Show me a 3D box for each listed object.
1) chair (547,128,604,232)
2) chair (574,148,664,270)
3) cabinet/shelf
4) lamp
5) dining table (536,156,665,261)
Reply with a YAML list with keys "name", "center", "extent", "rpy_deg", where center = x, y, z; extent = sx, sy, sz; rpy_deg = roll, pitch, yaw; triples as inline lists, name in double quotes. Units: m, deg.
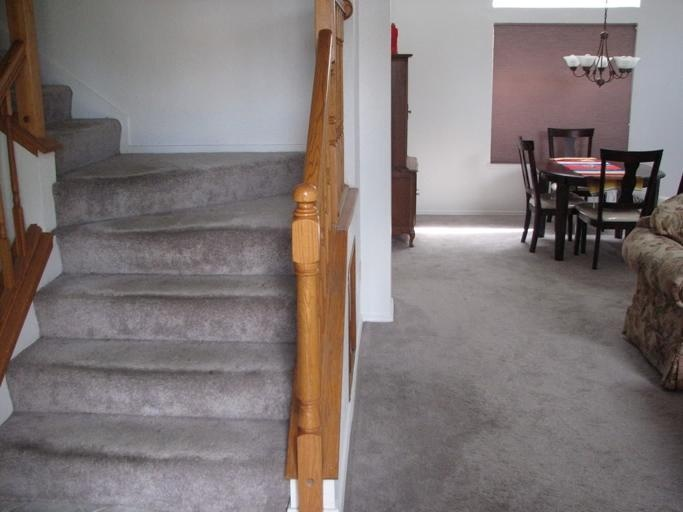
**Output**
- name: "chair"
  center: [2.918, -1.163, 7.008]
  extent: [0.510, 0.948, 0.642]
  rpy_deg: [0, 13, 10]
- name: "chair"
  center: [2.790, -0.515, 5.686]
  extent: [0.606, 1.245, 0.736]
  rpy_deg: [-2, 15, -1]
- name: "cabinet/shelf"
  center: [0.610, -1.182, 6.063]
  extent: [0.472, 1.993, 0.491]
  rpy_deg: [1, 13, 4]
- name: "lamp"
  center: [3.356, -2.820, 7.177]
  extent: [0.805, 1.317, 0.741]
  rpy_deg: [-27, 40, -36]
- name: "dining table"
  center: [2.759, -0.703, 6.019]
  extent: [1.198, 1.048, 1.323]
  rpy_deg: [-1, 7, -1]
